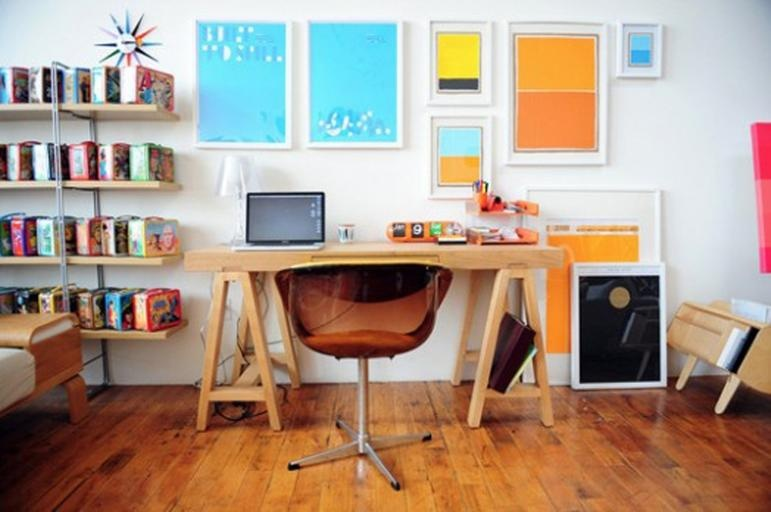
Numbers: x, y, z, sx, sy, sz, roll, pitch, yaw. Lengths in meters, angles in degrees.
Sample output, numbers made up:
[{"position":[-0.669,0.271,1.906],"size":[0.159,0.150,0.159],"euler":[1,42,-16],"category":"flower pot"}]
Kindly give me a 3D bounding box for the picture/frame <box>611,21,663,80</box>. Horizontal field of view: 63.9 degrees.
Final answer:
[{"position":[1.760,-1.457,4.316],"size":[0.407,0.443,0.046],"euler":[0,0,-1],"category":"picture/frame"}]

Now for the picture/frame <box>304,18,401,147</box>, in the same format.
[{"position":[-0.247,-1.241,4.274],"size":[0.912,1.066,0.073],"euler":[0,1,-3],"category":"picture/frame"}]

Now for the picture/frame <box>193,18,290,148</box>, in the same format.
[{"position":[-1.021,-1.231,4.263],"size":[0.919,1.120,0.092],"euler":[0,-1,-4],"category":"picture/frame"}]

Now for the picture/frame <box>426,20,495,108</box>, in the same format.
[{"position":[0.502,-1.357,4.287],"size":[0.614,0.691,0.057],"euler":[0,1,-3],"category":"picture/frame"}]

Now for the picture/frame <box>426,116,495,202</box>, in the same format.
[{"position":[0.508,-0.695,4.312],"size":[0.639,0.743,0.061],"euler":[0,0,-3],"category":"picture/frame"}]

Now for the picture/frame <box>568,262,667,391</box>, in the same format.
[{"position":[1.604,0.515,4.305],"size":[0.906,1.153,0.084],"euler":[0,-5,-1],"category":"picture/frame"}]

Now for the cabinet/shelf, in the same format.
[{"position":[-2.011,-0.198,4.220],"size":[0.938,2.222,0.535],"euler":[4,12,21],"category":"cabinet/shelf"}]

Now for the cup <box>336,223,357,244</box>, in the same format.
[{"position":[-0.271,-0.152,4.262],"size":[0.133,0.133,0.132],"euler":[0,-4,0],"category":"cup"}]

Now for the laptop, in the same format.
[{"position":[-0.662,-0.243,4.043],"size":[0.568,0.368,0.389],"euler":[0,-1,-2],"category":"laptop"}]

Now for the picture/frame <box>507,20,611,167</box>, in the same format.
[{"position":[1.190,-1.183,4.315],"size":[1.027,1.282,0.096],"euler":[-1,4,0],"category":"picture/frame"}]
